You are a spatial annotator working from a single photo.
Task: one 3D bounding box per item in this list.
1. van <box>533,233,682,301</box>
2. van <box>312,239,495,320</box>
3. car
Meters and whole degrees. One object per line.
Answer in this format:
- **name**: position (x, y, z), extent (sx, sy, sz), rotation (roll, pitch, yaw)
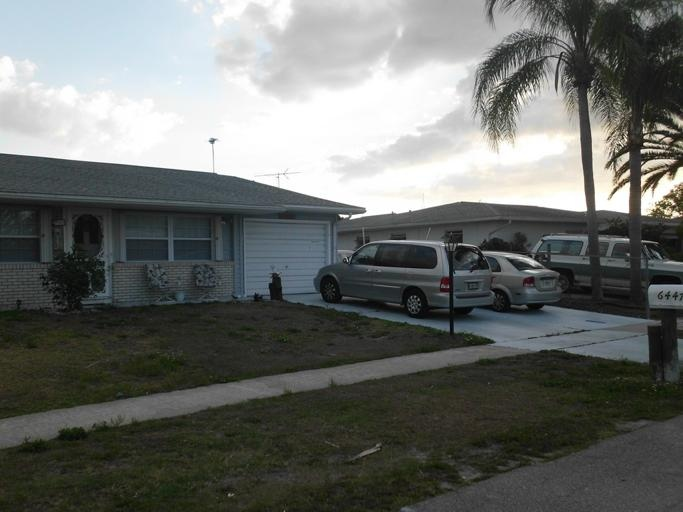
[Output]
- **van**: position (9.150, 0.273, 19.307), extent (4.659, 2.086, 2.285), rotation (-2, 1, 40)
- **van**: position (1.778, 0.419, 15.275), extent (1.941, 1.506, 3.899), rotation (1, 3, -44)
- **car**: position (5.076, 0.690, 15.335), extent (1.183, 0.953, 2.557), rotation (-2, 4, -32)
